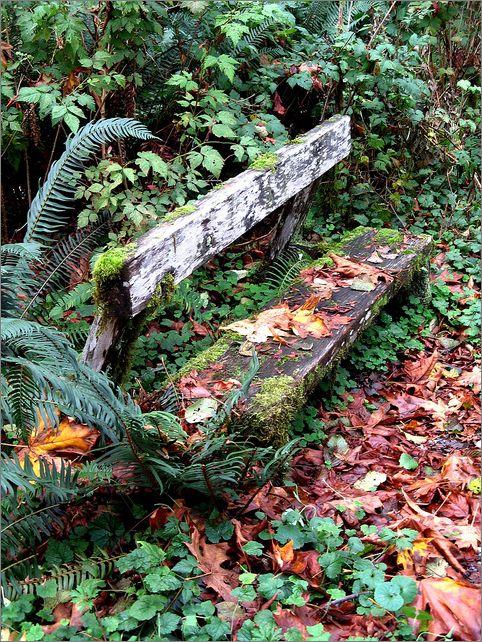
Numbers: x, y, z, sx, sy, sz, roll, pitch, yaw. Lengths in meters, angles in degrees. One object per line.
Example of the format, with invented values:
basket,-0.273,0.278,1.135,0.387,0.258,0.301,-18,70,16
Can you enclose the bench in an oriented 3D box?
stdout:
bench,0.052,-0.160,3.079,0.682,0.924,2.188,24,38,28
